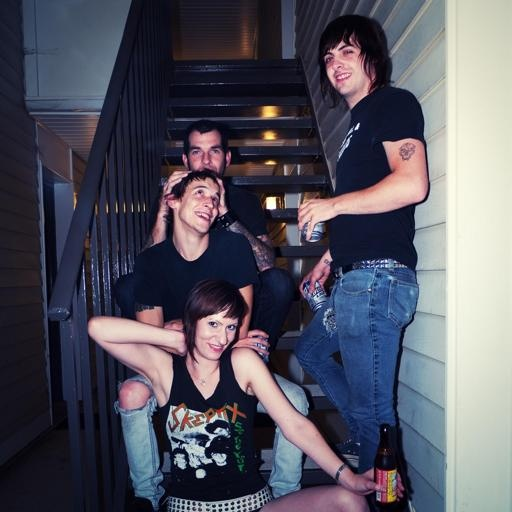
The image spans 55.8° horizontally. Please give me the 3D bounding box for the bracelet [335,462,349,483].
[{"bbox_3d":[0.309,0.798,1.775,0.015,0.057,0.056,11,-6,31],"label":"bracelet"}]

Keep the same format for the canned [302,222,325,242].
[{"bbox_3d":[0.216,-0.100,1.998,0.123,0.100,0.046,5,17,39],"label":"canned"}]

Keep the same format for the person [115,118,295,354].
[{"bbox_3d":[-0.244,-0.132,2.749,0.813,1.277,0.751,-3,2,-3],"label":"person"}]

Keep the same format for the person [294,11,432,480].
[{"bbox_3d":[0.427,-0.050,1.981,0.497,1.921,0.610,-5,5,-9],"label":"person"}]

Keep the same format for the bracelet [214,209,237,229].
[{"bbox_3d":[-0.151,-0.175,2.457,0.090,0.065,0.080,-18,38,32],"label":"bracelet"}]
